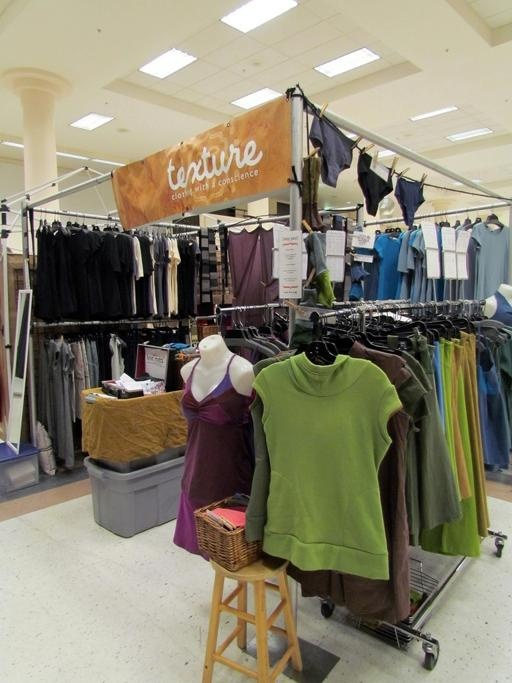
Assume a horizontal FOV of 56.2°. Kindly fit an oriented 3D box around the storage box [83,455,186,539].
[{"bbox_3d":[-0.797,0.982,3.211,0.408,0.378,0.587,5,7,44],"label":"storage box"}]

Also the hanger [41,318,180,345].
[{"bbox_3d":[-1.375,-0.092,4.952,0.491,0.288,1.841,1,5,33],"label":"hanger"}]

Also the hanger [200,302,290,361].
[{"bbox_3d":[0.012,-0.060,2.572,0.382,0.267,0.614,5,10,33],"label":"hanger"}]

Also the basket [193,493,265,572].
[{"bbox_3d":[-0.071,0.597,1.561,0.164,0.128,0.250,-2,-1,42],"label":"basket"}]

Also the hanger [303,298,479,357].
[{"bbox_3d":[0.676,-0.095,2.292,0.670,0.203,1.697,1,5,28],"label":"hanger"}]
